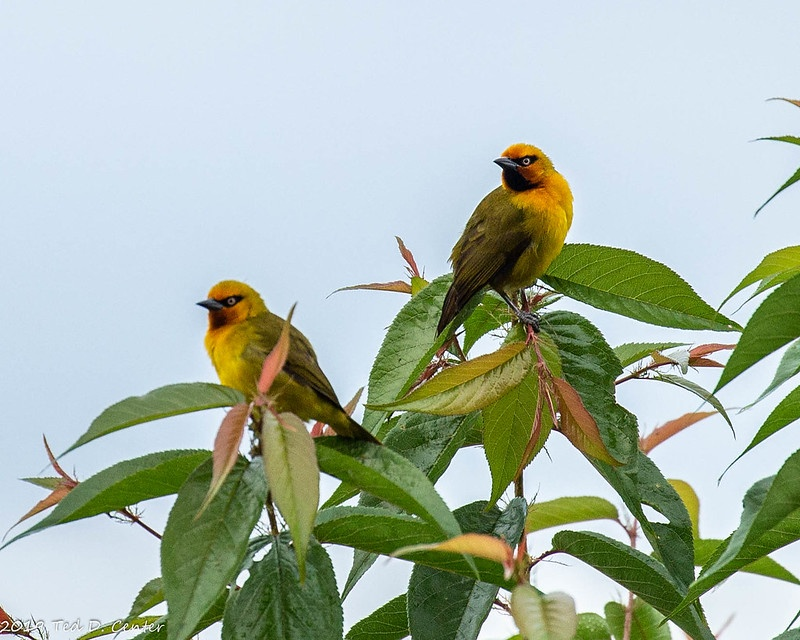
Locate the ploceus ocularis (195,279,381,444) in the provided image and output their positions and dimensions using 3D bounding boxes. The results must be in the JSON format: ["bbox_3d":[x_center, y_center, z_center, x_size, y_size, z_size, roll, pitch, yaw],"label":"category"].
[{"bbox_3d":[-0.485,0.198,4.243,0.936,0.574,0.312,15,-15,-30],"label":"ploceus ocularis"}]

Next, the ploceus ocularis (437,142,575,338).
[{"bbox_3d":[0.396,-0.201,3.440,0.529,0.784,0.361,-6,-31,-1],"label":"ploceus ocularis"}]
